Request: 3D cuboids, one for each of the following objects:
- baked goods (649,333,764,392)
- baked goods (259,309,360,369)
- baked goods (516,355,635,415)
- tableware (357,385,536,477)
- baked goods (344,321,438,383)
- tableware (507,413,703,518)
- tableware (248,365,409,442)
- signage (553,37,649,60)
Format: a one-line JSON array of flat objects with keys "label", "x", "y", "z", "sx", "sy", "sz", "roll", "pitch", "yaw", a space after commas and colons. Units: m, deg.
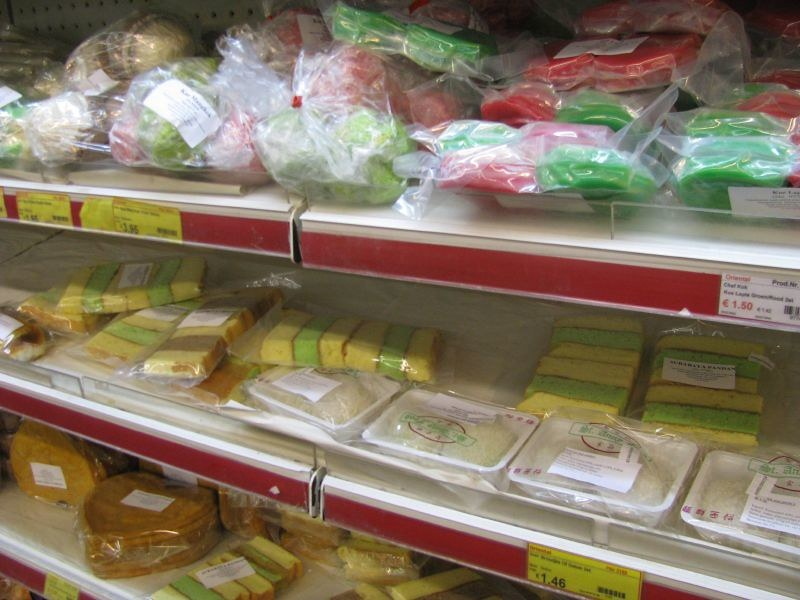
[{"label": "baked goods", "x": 0.621, "y": 0.125, "z": 1.218, "sx": 0.176, "sy": 0.034, "sz": 0.113, "roll": 7, "pitch": 41, "yaw": 25}, {"label": "baked goods", "x": -0.197, "y": 0.100, "z": 1.475, "sx": 0.266, "sy": 0.061, "sz": 0.240, "roll": -1, "pitch": 12, "yaw": -14}, {"label": "baked goods", "x": 0.369, "y": 0.172, "z": 1.239, "sx": 0.151, "sy": 0.033, "sz": 0.137, "roll": 7, "pitch": 36, "yaw": 23}, {"label": "tableware", "x": 0.093, "y": 0.240, "z": 1.171, "sx": 0.229, "sy": 0.031, "sz": 0.144, "roll": 9, "pitch": 30, "yaw": 24}, {"label": "baked goods", "x": -0.012, "y": 0.110, "z": 1.353, "sx": 0.182, "sy": 0.039, "sz": 0.124, "roll": 7, "pitch": 36, "yaw": 10}, {"label": "tableware", "x": 0.361, "y": 0.290, "z": 1.080, "sx": 0.268, "sy": 0.060, "sz": 0.229, "roll": 9, "pitch": 25, "yaw": 29}, {"label": "tableware", "x": -0.181, "y": 0.205, "z": 1.334, "sx": 0.331, "sy": 0.052, "sz": 0.221, "roll": 13, "pitch": 27, "yaw": 24}, {"label": "signage", "x": 0.337, "y": -0.425, "z": 1.020, "sx": 0.145, "sy": 0.028, "sz": 0.074, "roll": 5, "pitch": 23, "yaw": 19}]
